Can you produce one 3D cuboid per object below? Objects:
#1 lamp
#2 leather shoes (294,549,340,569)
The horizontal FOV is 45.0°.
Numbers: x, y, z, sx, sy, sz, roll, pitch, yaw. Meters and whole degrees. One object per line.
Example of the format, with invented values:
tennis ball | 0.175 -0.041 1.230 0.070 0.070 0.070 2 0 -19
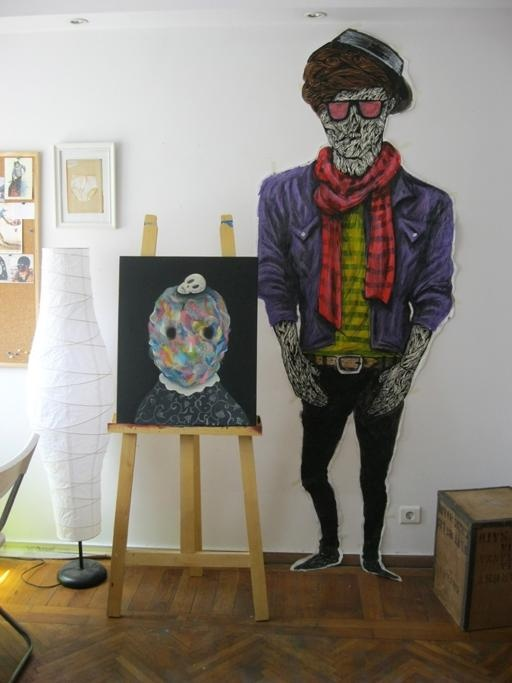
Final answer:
lamp | -0.779 0.229 2.597 0.333 1.223 0.203 -3 12 -18
leather shoes | 0.284 1.014 2.883 0.245 0.072 0.090 -5 -23 -2
